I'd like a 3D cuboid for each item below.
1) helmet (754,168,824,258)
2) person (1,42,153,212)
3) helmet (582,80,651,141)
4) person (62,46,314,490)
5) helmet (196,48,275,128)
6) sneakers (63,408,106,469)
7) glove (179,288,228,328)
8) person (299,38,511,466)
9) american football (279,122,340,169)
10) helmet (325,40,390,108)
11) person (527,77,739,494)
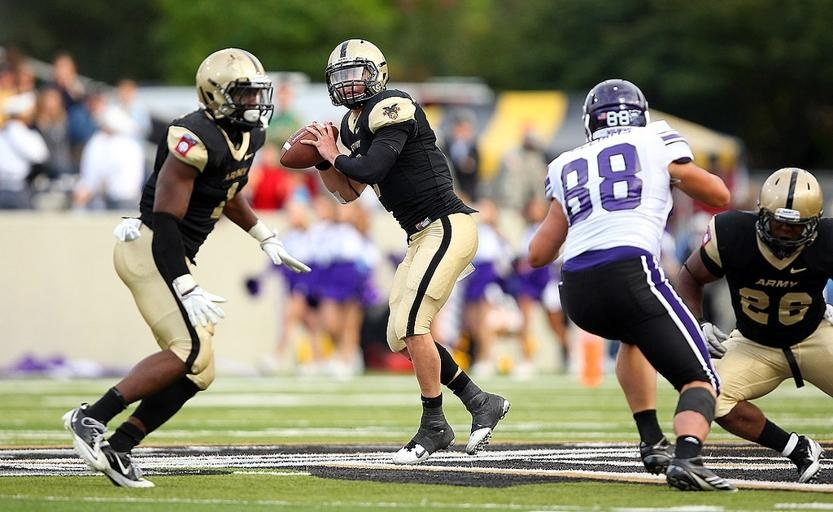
[{"bbox_3d":[2.239,-0.281,5.802,0.382,0.517,0.524,7,14,12],"label":"helmet"},{"bbox_3d":[-3.983,-1.523,11.977,1.350,1.756,0.905,0,1,-10],"label":"person"},{"bbox_3d":[1.266,-0.930,6.154,0.400,0.423,0.489,-2,2,18],"label":"helmet"},{"bbox_3d":[-1.451,0.013,5.918,1.448,2.595,0.772,-5,9,-30],"label":"person"},{"bbox_3d":[-1.123,-1.066,6.072,0.539,0.469,0.425,14,15,28],"label":"helmet"},{"bbox_3d":[-1.944,1.069,5.660,0.282,0.381,0.160,1,8,12],"label":"sneakers"},{"bbox_3d":[-1.272,0.300,5.790,0.286,0.233,0.142,3,8,27],"label":"glove"},{"bbox_3d":[-0.078,-0.052,6.543,1.291,2.849,0.761,5,9,36],"label":"person"},{"bbox_3d":[-0.740,-0.760,6.704,0.393,0.236,0.257,-26,15,-7],"label":"american football"},{"bbox_3d":[-0.424,-1.263,6.707,0.401,0.434,0.551,-5,6,15],"label":"helmet"},{"bbox_3d":[1.366,0.131,5.801,0.669,2.392,1.249,-7,10,-41],"label":"person"}]
